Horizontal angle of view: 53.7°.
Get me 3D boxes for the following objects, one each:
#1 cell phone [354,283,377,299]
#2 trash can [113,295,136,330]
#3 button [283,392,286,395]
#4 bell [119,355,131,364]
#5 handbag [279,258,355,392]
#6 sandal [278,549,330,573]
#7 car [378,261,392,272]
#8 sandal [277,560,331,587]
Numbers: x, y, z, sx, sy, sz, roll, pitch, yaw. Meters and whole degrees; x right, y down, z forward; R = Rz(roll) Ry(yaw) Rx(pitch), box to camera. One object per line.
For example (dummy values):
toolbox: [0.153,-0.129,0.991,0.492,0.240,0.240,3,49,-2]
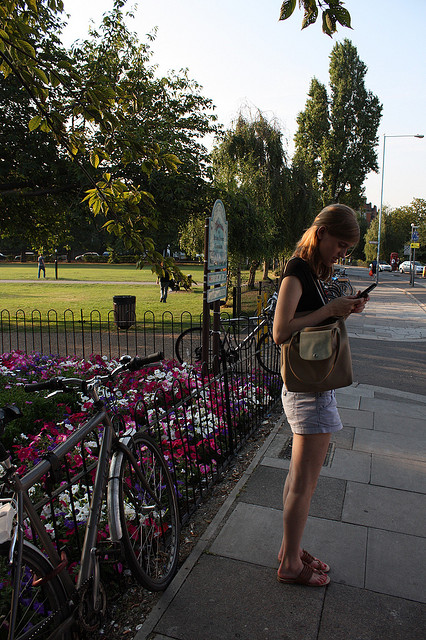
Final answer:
cell phone: [0.674,-0.127,1.860,0.048,0.072,0.250,4,18,33]
trash can: [-2.478,-0.203,11.814,0.562,0.926,0.780,1,4,-12]
button: [0.317,0.326,1.867,0.009,0.011,0.010,1,9,20]
bell: [-0.388,0.178,1.876,0.041,0.041,0.138,0,5,-16]
handbag: [0.425,0.153,1.723,0.291,0.329,0.193,2,4,9]
sandal: [0.471,1.159,2.038,0.178,0.074,0.066,28,22,-10]
car: [23.242,-7.257,56.829,1.526,1.702,7.444,3,5,22]
sandal: [0.424,1.194,1.955,0.202,0.088,0.109,-3,3,11]
